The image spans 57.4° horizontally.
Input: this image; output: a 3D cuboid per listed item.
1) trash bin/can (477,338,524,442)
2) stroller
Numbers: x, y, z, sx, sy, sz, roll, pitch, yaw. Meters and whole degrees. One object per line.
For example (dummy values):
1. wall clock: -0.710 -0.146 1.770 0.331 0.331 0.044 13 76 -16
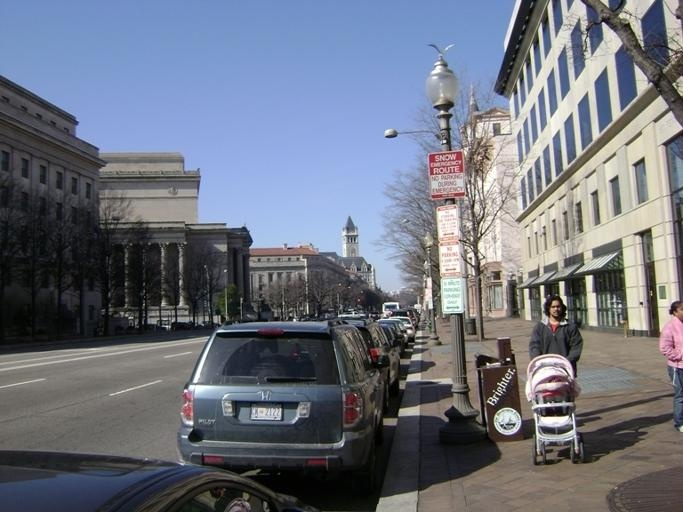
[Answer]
1. trash bin/can: 2.412 2.031 9.500 0.611 1.548 0.635 -4 -8 10
2. stroller: 2.869 2.044 8.413 0.675 1.413 0.562 -6 -8 20
